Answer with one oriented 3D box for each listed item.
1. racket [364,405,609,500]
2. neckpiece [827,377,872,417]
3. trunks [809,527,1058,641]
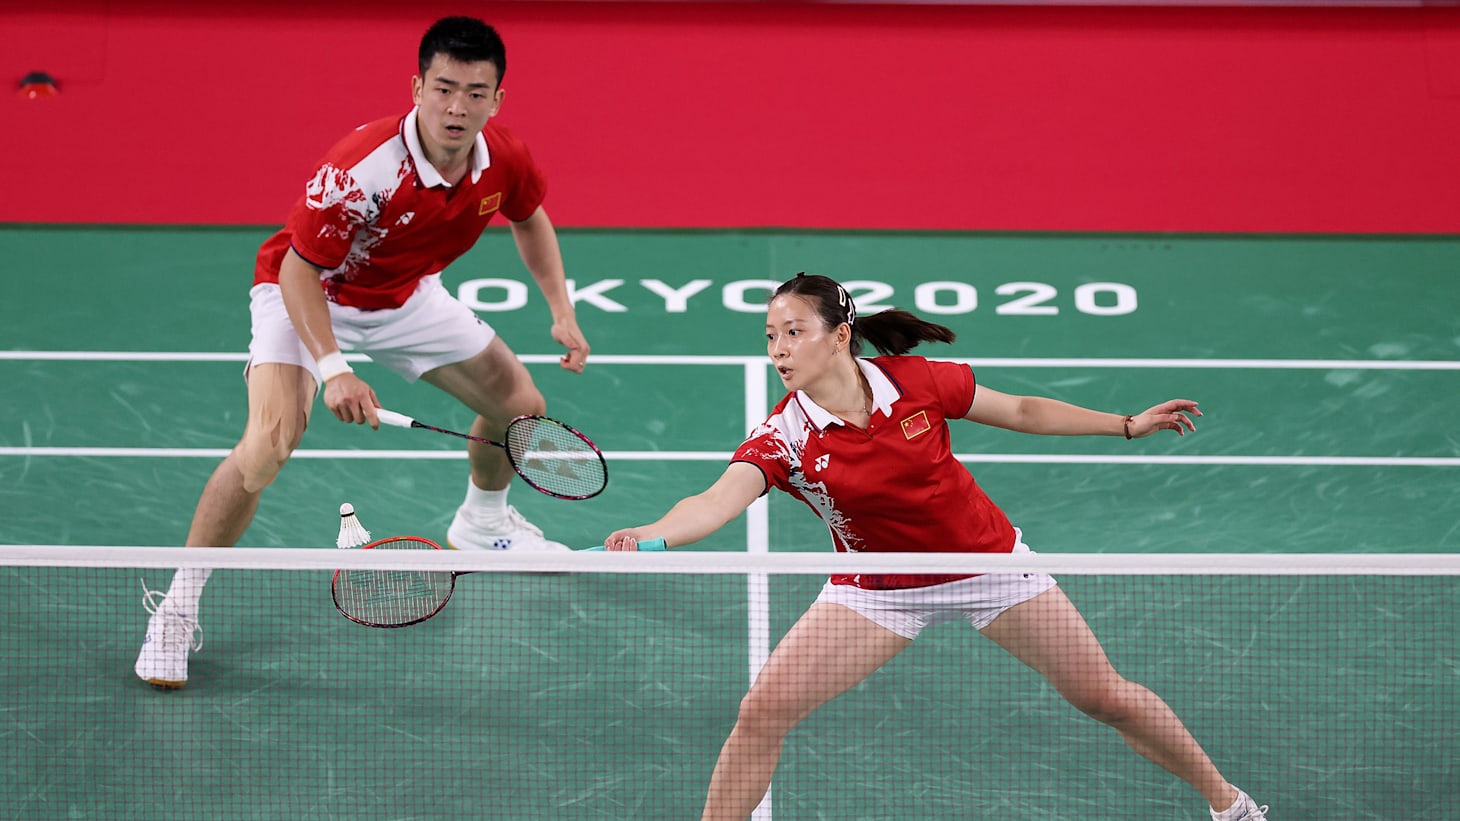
[{"bbox_3d":[-1.523,0.265,10.163,2.036,0.530,0.143,11,17,22],"label":"racket"},{"bbox_3d":[0.751,-0.047,9.239,0.202,0.246,0.219,23,-32,-34],"label":"neckpiece"},{"bbox_3d":[1.274,1.086,9.193,1.103,0.294,0.591,-16,-4,-3],"label":"trunks"}]
